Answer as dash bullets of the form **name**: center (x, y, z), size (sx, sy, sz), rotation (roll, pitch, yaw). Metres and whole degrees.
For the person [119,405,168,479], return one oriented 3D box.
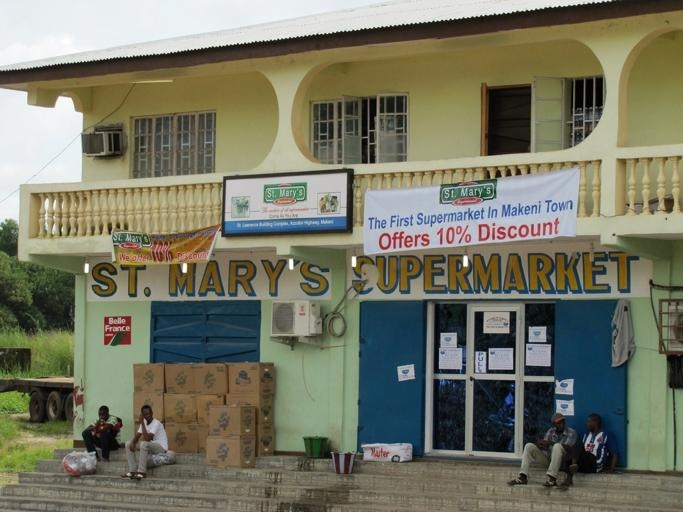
- **person**: center (-3.715, 3.521, 28.523), size (0.441, 1.378, 0.845), rotation (-5, -9, 36)

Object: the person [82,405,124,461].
- **person**: center (-4.666, 3.440, 29.376), size (0.694, 1.121, 0.673), rotation (3, -5, -28)

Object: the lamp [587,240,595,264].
- **lamp**: center (4.561, -0.116, 27.364), size (0.052, 0.323, 0.139), rotation (5, -9, -38)

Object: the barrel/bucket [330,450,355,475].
- **barrel/bucket**: center (0.053, 3.789, 27.702), size (0.353, 0.295, 0.374), rotation (0, -5, 0)

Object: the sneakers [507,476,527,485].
- **sneakers**: center (3.105, 3.937, 26.421), size (0.327, 0.157, 0.133), rotation (4, -5, 1)

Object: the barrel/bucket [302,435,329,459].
- **barrel/bucket**: center (-0.463, 3.596, 28.505), size (0.394, 0.300, 0.397), rotation (1, -2, 0)

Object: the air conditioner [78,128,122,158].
- **air conditioner**: center (-4.915, -2.360, 30.942), size (0.939, 0.574, 0.377), rotation (-3, -8, 21)

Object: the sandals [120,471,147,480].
- **sandals**: center (-3.891, 4.095, 28.141), size (0.324, 0.099, 0.169), rotation (10, -8, -1)

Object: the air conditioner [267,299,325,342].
- **air conditioner**: center (-0.839, 1.452, 28.872), size (1.069, 0.851, 0.611), rotation (-2, -8, 14)

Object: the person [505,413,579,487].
- **person**: center (3.631, 3.386, 26.533), size (0.845, 1.409, 1.223), rotation (-3, -15, 40)

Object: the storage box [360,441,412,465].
- **storage box**: center (0.859, 3.624, 27.887), size (0.611, 0.296, 0.419), rotation (-1, -5, 18)

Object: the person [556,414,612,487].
- **person**: center (4.334, 3.419, 26.659), size (1.004, 1.557, 0.622), rotation (29, -30, -32)
